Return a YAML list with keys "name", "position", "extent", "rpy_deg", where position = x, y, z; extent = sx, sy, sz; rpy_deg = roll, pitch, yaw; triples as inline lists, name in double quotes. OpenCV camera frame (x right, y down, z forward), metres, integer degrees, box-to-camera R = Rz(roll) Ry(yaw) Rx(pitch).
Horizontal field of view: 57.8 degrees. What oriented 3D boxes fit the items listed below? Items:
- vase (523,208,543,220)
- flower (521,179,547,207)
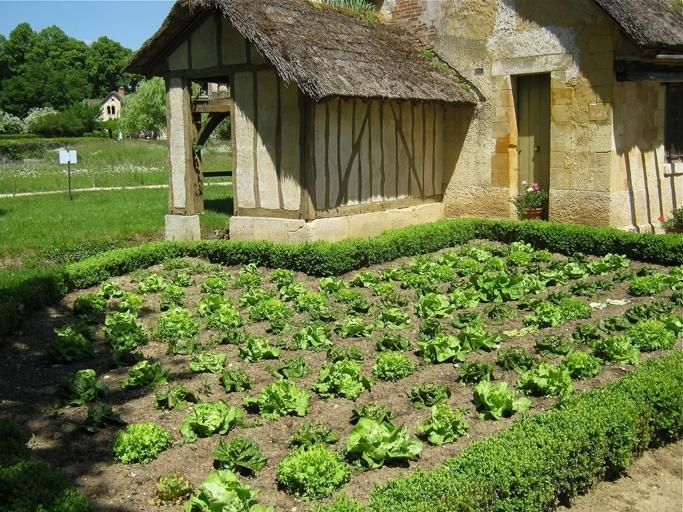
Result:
- name: "vase"
  position: [4.366, -0.963, 14.088]
  extent: [0.420, 0.253, 0.286]
  rpy_deg: [1, 6, 15]
- name: "flower"
  position: [4.365, -1.379, 14.099]
  extent: [0.554, 0.564, 0.683]
  rpy_deg: [18, 0, 18]
